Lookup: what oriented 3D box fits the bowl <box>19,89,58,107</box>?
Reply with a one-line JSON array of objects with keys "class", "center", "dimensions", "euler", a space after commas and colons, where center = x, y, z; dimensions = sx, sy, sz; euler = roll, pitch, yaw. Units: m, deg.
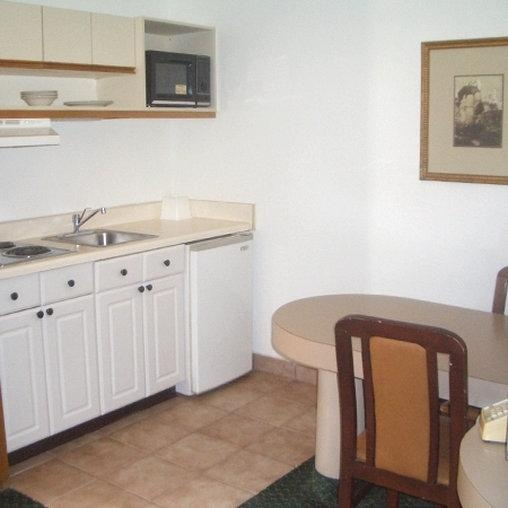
[{"class": "bowl", "center": [-1.150, -0.828, 2.537], "dimensions": [0.132, 0.060, 0.138], "euler": [0, 18, 0]}]

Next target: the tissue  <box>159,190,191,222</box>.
[{"class": "tissue ", "center": [-0.590, -0.345, 3.488], "dimensions": [0.185, 0.160, 0.190], "euler": [2, 6, 17]}]
